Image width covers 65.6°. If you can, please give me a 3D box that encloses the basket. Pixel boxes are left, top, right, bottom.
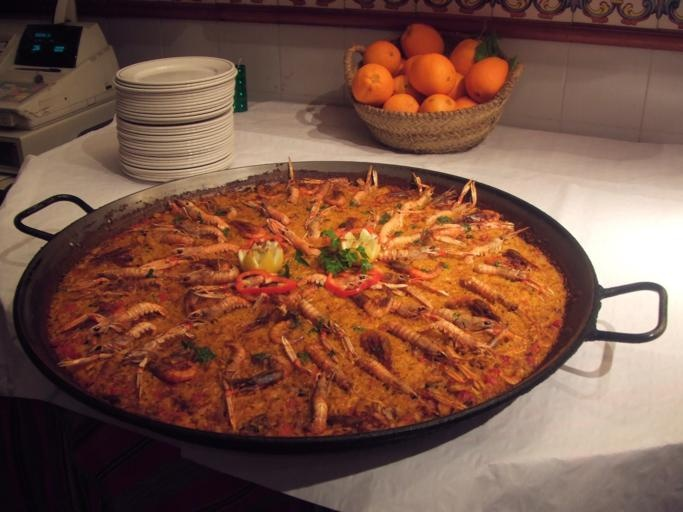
[{"bbox_3d":[0.339,-0.651,2.061,0.683,0.410,0.488,8,26,9],"label":"basket"}]

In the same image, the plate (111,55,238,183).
[{"bbox_3d":[-0.544,-0.441,1.856,0.414,0.436,0.373,-15,32,-32],"label":"plate"}]
